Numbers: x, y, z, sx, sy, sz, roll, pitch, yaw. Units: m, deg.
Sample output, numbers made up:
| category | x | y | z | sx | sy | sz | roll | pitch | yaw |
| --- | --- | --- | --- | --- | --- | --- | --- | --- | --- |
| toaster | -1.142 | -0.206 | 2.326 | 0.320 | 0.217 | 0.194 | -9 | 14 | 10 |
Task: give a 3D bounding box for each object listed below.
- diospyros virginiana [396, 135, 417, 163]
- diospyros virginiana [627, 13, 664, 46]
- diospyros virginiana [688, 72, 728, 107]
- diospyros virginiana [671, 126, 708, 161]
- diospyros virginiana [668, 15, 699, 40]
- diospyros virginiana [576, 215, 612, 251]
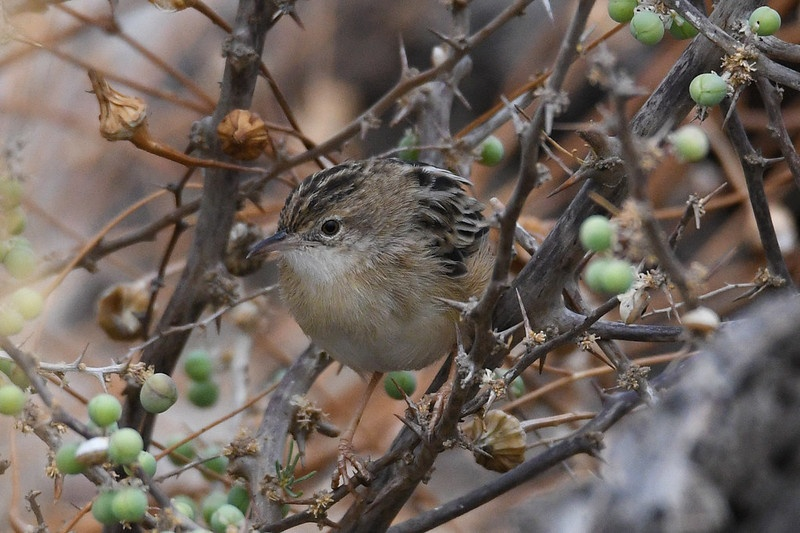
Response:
| category | x | y | z | sx | sy | sz | roll | pitch | yaw |
| --- | --- | --- | --- | --- | --- | --- | --- | --- | --- |
| diospyros virginiana | 0.050 | -0.673 | 5.554 | 0.122 | 0.061 | 0.163 | 1 | -70 | 5 |
| diospyros virginiana | 1.083 | -1.019 | 4.247 | 0.115 | 0.154 | 0.123 | 25 | -53 | -6 |
| diospyros virginiana | 1.343 | -0.760 | 4.215 | 0.130 | 0.102 | 0.166 | 0 | -3 | -1 |
| diospyros virginiana | 1.141 | -0.477 | 3.826 | 0.155 | 0.120 | 0.124 | -1 | -57 | -58 |
| diospyros virginiana | 1.276 | -1.053 | 4.352 | 0.100 | 0.092 | 0.144 | -14 | -33 | 23 |
| diospyros virginiana | 0.729 | -0.125 | 3.627 | 0.128 | 0.131 | 0.155 | 0 | -86 | 7 |
